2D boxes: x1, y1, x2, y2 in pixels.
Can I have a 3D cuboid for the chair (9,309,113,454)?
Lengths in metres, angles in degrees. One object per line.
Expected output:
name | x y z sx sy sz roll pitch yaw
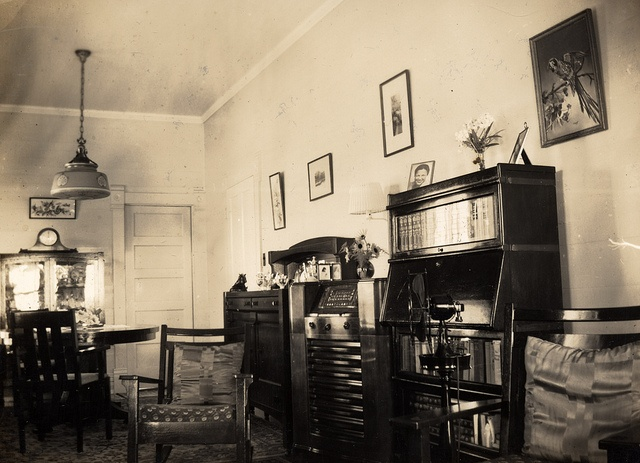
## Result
chair | -2.516 1.410 5.954 0.889 1.281 0.936 0 -6 -9

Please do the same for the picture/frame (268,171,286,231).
picture/frame | -0.497 -0.371 7.142 0.061 0.943 0.678 -3 -1 -20

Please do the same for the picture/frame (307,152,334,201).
picture/frame | 0.024 -0.567 6.252 0.037 0.449 0.468 4 -10 -23

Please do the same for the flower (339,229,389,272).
flower | 0.349 0.174 5.021 0.345 0.349 0.332 -8 -36 -15

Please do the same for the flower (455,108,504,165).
flower | 1.129 -0.672 4.385 0.354 0.395 0.382 -3 3 -18

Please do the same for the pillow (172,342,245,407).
pillow | -0.822 1.063 4.464 0.480 0.228 0.396 -1 39 0

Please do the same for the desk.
desk | -2.346 1.527 6.233 1.134 0.882 1.087 -1 -7 6

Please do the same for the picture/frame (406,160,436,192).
picture/frame | 0.832 -0.450 4.888 0.031 0.330 0.319 9 -2 -32

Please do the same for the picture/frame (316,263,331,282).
picture/frame | 0.028 0.375 5.502 0.129 0.136 0.034 2 1 36

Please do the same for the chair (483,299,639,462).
chair | 1.314 0.820 3.573 0.824 0.797 0.793 0 -6 -5

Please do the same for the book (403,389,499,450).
book | 0.798 1.143 3.579 0.546 0.338 1.098 -3 -6 17

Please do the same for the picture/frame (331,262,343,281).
picture/frame | 0.145 0.356 5.453 0.090 0.136 0.019 -4 -9 36

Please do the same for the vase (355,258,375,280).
vase | 0.374 0.302 4.940 0.143 0.173 0.146 -5 -6 0
